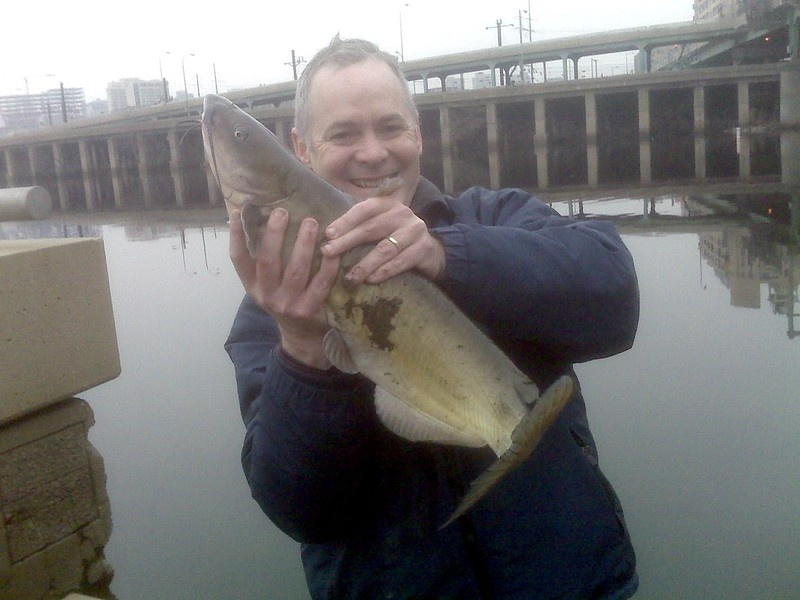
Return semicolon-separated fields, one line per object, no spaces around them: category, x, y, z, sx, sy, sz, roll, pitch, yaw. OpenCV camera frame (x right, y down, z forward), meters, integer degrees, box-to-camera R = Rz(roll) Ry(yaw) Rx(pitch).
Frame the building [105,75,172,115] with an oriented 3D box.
building;-59.080;-45.334;137.713;10.000;7.121;18.842;-10;12;-31
